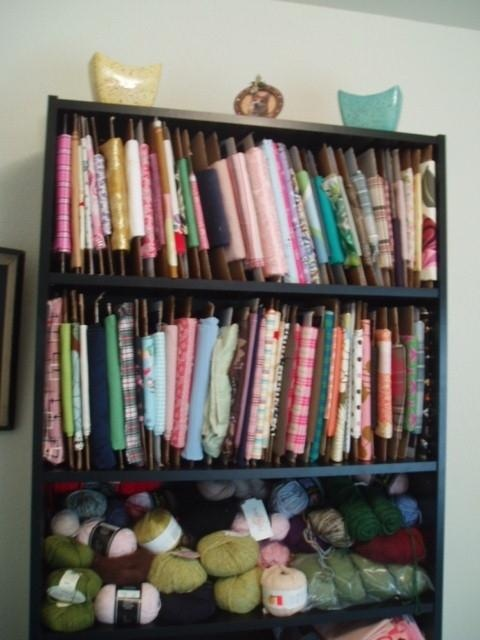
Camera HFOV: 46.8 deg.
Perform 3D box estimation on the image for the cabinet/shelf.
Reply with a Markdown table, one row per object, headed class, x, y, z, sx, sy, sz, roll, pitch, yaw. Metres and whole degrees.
| class | x | y | z | sx | sy | sz | roll | pitch | yaw |
| --- | --- | --- | --- | --- | --- | --- | --- | --- | --- |
| cabinet/shelf | 0.024 | 0.160 | 1.515 | 1.194 | 1.294 | 0.318 | -5 | 1 | -12 |
